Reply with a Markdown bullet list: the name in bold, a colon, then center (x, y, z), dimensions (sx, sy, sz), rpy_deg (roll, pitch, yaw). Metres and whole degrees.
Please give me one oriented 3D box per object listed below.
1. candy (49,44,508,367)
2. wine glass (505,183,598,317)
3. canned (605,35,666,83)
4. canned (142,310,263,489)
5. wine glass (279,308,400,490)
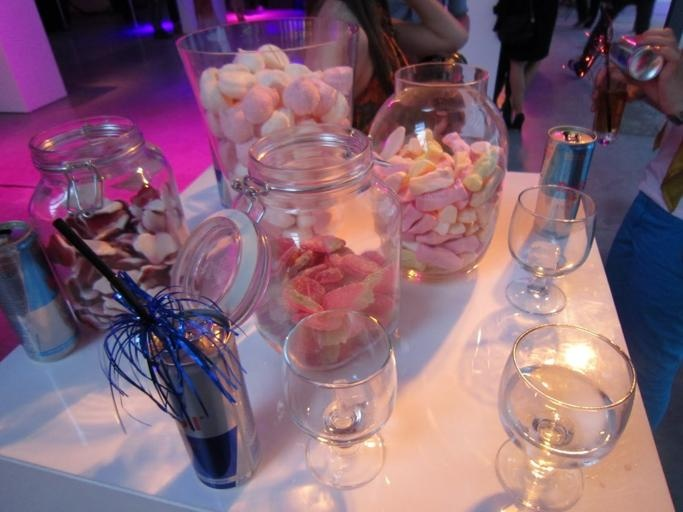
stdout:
- **candy**: center (-0.025, -0.157, 1.035), dimensions (0.738, 0.555, 0.438), rpy_deg (-7, 28, -8)
- **wine glass**: center (0.394, 0.003, 1.007), dimensions (0.142, 0.241, 0.151), rpy_deg (7, 6, 0)
- **canned**: center (0.707, -0.480, 1.273), dimensions (0.084, 0.086, 0.130), rpy_deg (12, 30, -17)
- **canned**: center (-0.185, 0.218, 0.774), dimensions (0.104, 0.287, 0.102), rpy_deg (-31, 44, -34)
- **wine glass**: center (0.056, 0.170, 0.877), dimensions (0.217, 0.346, 0.219), rpy_deg (0, 37, 10)
